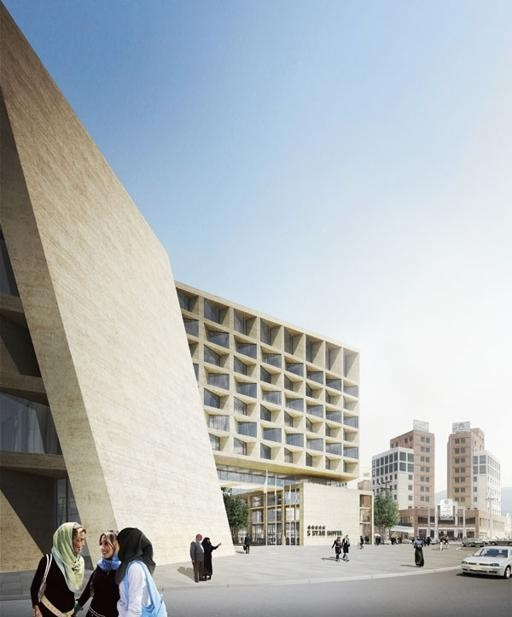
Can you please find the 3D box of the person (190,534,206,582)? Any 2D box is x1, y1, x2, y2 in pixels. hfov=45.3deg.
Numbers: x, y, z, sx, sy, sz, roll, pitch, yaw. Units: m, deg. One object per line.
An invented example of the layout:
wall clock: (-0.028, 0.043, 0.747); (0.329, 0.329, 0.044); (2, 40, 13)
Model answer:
person: (-1.657, 6.962, 17.270); (0.450, 1.161, 1.215); (6, -12, -4)

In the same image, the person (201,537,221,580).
person: (-1.406, 7.289, 18.207); (0.540, 1.374, 0.323); (1, 16, -4)
